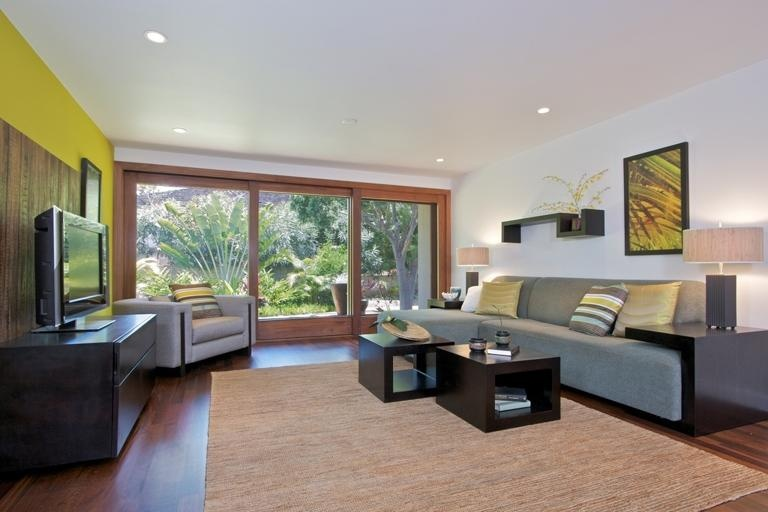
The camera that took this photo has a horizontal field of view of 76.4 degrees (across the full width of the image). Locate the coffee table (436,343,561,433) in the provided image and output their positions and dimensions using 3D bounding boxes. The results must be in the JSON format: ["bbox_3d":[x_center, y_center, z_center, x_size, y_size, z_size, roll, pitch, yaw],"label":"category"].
[{"bbox_3d":[0.966,1.044,4.154,0.777,0.447,0.774,1,-4,-23],"label":"coffee table"}]

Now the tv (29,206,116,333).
[{"bbox_3d":[-2.738,0.120,4.174,0.363,0.939,1.005,0,0,-9],"label":"tv"}]

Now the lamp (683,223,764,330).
[{"bbox_3d":[2.962,0.178,4.272,0.578,0.880,0.259,1,2,29],"label":"lamp"}]

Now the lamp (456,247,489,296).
[{"bbox_3d":[1.347,0.250,7.377,0.536,0.734,0.501,1,-8,1],"label":"lamp"}]

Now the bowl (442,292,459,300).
[{"bbox_3d":[1.001,0.581,7.215,0.168,0.080,0.161,1,-1,0],"label":"bowl"}]

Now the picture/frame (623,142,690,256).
[{"bbox_3d":[2.838,-0.577,5.102,0.157,1.108,0.662,-1,2,-25],"label":"picture/frame"}]

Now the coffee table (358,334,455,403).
[{"bbox_3d":[0.096,1.089,4.845,0.698,0.392,0.685,0,1,-22],"label":"coffee table"}]

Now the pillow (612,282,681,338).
[{"bbox_3d":[2.472,0.507,4.551,0.243,0.389,0.447,10,-24,-41],"label":"pillow"}]

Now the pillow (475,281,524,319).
[{"bbox_3d":[1.502,0.547,6.340,0.585,0.442,0.254,-1,-1,44],"label":"pillow"}]
